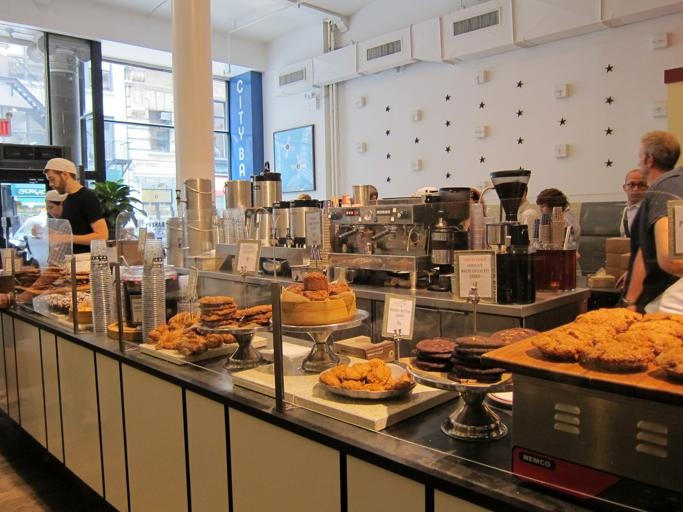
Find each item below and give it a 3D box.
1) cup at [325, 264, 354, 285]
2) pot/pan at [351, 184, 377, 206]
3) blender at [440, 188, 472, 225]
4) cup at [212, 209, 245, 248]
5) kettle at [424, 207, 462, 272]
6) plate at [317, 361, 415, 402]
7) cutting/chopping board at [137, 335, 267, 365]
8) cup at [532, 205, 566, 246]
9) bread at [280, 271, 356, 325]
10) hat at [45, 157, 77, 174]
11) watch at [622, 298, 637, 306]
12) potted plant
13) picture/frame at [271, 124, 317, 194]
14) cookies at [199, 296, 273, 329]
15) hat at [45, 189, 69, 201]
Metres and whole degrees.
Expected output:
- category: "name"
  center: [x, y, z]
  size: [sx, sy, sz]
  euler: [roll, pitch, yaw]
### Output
- category: "cup"
  center: [0.006, 0.111, 3.172]
  size: [0.172, 0.118, 0.108]
  euler: [-1, 1, -20]
- category: "pot/pan"
  center: [0.201, -0.489, 4.414]
  size: [0.157, 0.162, 0.234]
  euler: [-2, -3, 40]
- category: "blender"
  center: [0.696, -0.307, 3.305]
  size: [0.236, 0.236, 0.240]
  euler: [3, 5, 30]
- category: "cup"
  center: [-0.975, -0.259, 4.701]
  size: [0.204, 0.310, 0.485]
  euler: [-7, 7, -32]
- category: "kettle"
  center: [0.609, -0.100, 3.178]
  size: [0.210, 0.345, 0.386]
  euler: [-2, 6, 7]
- category: "plate"
  center: [0.087, 0.399, 1.731]
  size: [0.178, 0.054, 0.167]
  euler: [0, 0, 36]
- category: "cutting/chopping board"
  center: [-0.692, 0.413, 2.313]
  size: [0.457, 0.049, 0.187]
  euler: [-2, 6, 9]
- category: "cup"
  center: [1.054, -0.148, 2.706]
  size: [0.179, 0.196, 0.180]
  euler: [-1, 6, 0]
- category: "bread"
  center: [-0.085, 0.145, 1.981]
  size: [0.210, 0.124, 0.205]
  euler: [-1, -2, -1]
- category: "hat"
  center: [-2.120, -0.682, 4.132]
  size: [0.161, 0.116, 0.220]
  euler: [8, 12, 31]
- category: "watch"
  center: [0.880, 0.141, 1.657]
  size: [0.021, 0.015, 0.021]
  euler: [4, 7, 44]
- category: "potted plant"
  center: [-2.955, -0.562, 7.011]
  size: [0.721, 0.698, 0.628]
  euler: [-8, -6, -30]
- category: "picture/frame"
  center: [-0.710, -1.516, 8.587]
  size: [0.016, 0.991, 1.015]
  euler: [0, 11, 29]
- category: "cookies"
  center: [-0.424, 0.218, 2.121]
  size: [0.298, 0.106, 0.122]
  euler: [0, 7, 23]
- category: "hat"
  center: [-2.270, -0.490, 4.306]
  size: [0.142, 0.084, 0.108]
  euler: [5, 8, 22]
